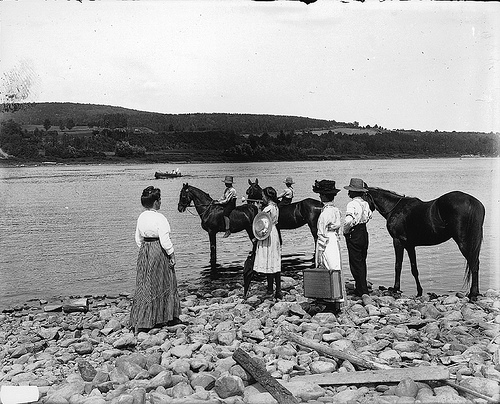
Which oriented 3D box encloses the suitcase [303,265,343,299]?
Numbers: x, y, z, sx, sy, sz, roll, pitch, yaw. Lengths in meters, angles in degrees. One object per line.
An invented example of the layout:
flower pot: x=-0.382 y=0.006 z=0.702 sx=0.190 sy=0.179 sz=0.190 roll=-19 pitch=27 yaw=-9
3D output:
suitcase: x=1.658 y=1.801 z=13.622 sx=0.710 sy=0.632 sz=0.282 roll=-2 pitch=1 yaw=27

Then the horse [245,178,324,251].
horse: x=1.465 y=0.613 z=22.976 sx=3.754 sy=2.900 sz=0.881 roll=-1 pitch=11 yaw=29

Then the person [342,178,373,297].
person: x=2.660 y=0.901 z=15.168 sx=0.651 sy=2.943 sz=1.198 roll=2 pitch=2 yaw=14

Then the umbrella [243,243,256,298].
umbrella: x=-0.039 y=2.058 z=17.979 sx=0.210 sy=0.463 sz=1.575 roll=-11 pitch=-29 yaw=-18

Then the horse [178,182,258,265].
horse: x=-1.312 y=0.897 z=24.191 sx=3.576 sy=3.179 sz=0.975 roll=3 pitch=3 yaw=38
